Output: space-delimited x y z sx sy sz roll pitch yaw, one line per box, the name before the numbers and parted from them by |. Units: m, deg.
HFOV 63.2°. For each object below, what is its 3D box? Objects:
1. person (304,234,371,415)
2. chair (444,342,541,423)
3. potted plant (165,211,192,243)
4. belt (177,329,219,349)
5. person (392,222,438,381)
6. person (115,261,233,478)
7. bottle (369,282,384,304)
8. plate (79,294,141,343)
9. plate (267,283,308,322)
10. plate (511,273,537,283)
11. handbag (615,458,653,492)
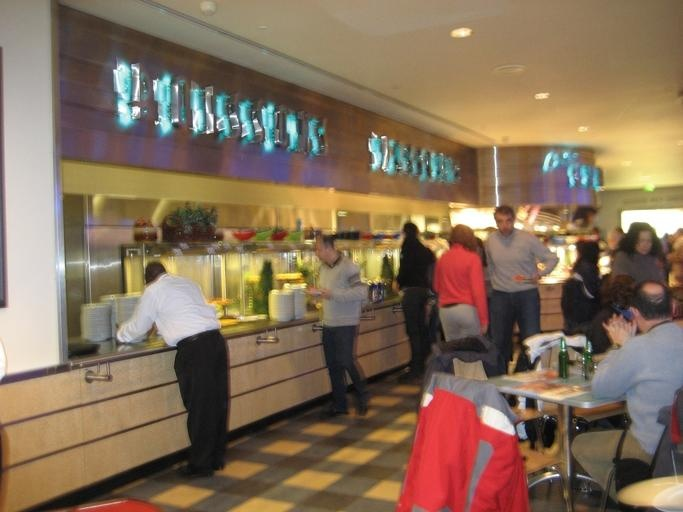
person | -0.014 0.728 5.859 0.567 1.930 0.496 -2 6 -1
chair | 1.109 0.928 4.099 0.653 0.877 0.375 0 26 19
potted plant | -1.563 -0.278 5.236 0.302 0.284 0.222 2 -2 -37
belt | -1.187 0.689 4.636 0.373 0.145 0.103 -4 6 -22
person | 0.973 0.555 7.320 0.440 1.997 0.468 0 6 20
person | -1.354 0.983 4.701 0.717 1.667 0.323 -1 6 9
bottle | 0.462 0.484 7.247 0.252 0.271 0.248 0 0 5
plate | -1.995 0.536 4.840 0.323 0.345 0.542 0 -1 8
plate | -0.546 0.509 5.890 0.447 0.332 0.185 -6 7 -36
plate | 2.018 0.242 6.105 0.238 0.096 0.226 -2 5 0
handbag | 1.751 1.289 3.334 0.159 0.105 0.220 1 12 41
